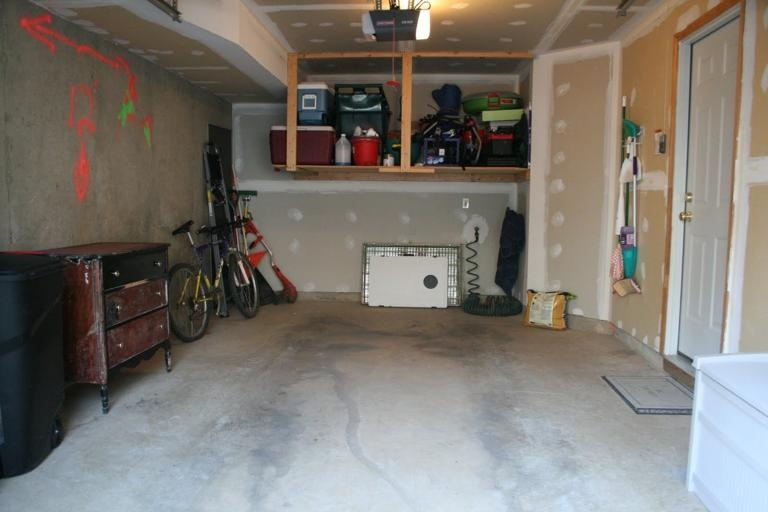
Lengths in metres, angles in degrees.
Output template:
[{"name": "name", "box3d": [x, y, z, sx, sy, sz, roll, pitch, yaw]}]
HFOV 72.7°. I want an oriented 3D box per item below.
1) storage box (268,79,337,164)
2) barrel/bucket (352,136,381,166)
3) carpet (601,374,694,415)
[{"name": "storage box", "box3d": [-0.878, -1.556, 6.320, 0.661, 1.095, 1.081, 1, 7, 3]}, {"name": "barrel/bucket", "box3d": [-0.241, -1.282, 6.383, 0.339, 0.264, 0.342, -1, 11, 0]}, {"name": "carpet", "box3d": [2.276, 1.144, 4.420, 0.642, 0.034, 0.685, 1, 14, 1]}]
